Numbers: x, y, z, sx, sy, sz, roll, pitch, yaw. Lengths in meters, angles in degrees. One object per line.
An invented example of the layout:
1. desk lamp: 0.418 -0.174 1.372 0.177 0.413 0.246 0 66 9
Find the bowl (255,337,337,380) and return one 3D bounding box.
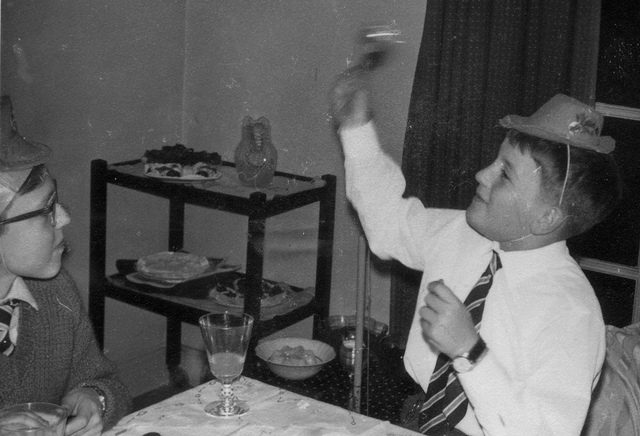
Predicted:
1. bowl: -0.071 0.377 1.725 0.203 0.092 0.156 12 15 40

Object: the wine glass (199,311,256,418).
1. wine glass: -0.171 0.257 1.169 0.094 0.167 0.127 1 13 -8

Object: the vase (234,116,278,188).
1. vase: -0.180 -0.190 1.852 0.123 0.202 0.057 8 14 20

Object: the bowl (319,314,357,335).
1. bowl: 0.048 0.295 1.736 0.137 0.038 0.095 1 7 11

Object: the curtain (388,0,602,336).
1. curtain: 0.417 -0.277 1.533 0.433 0.498 0.254 7 13 18
